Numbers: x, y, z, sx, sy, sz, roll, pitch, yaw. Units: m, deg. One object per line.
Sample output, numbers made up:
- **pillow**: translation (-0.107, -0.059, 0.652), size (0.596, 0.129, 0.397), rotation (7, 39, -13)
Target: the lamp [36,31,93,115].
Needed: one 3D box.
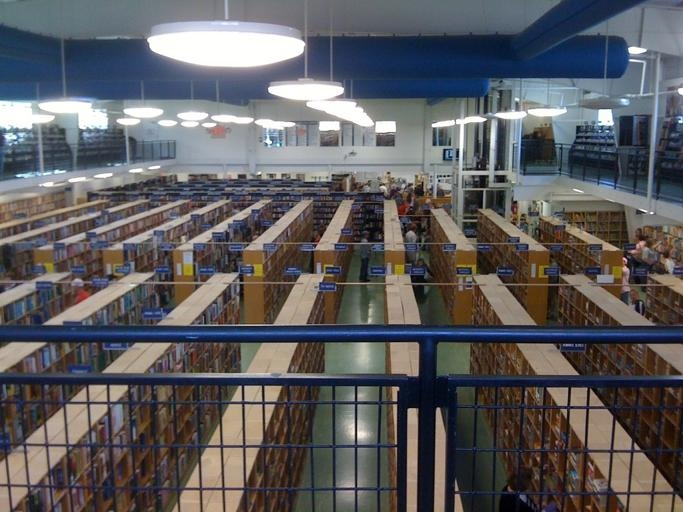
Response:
- **lamp**: translation (-4.491, -2.901, 8.429), size (0.601, 1.215, 4.390), rotation (-7, 16, -27)

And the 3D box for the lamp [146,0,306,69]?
- **lamp**: translation (-0.612, -1.220, 2.810), size (0.789, 0.343, 0.552), rotation (-5, 14, -17)
